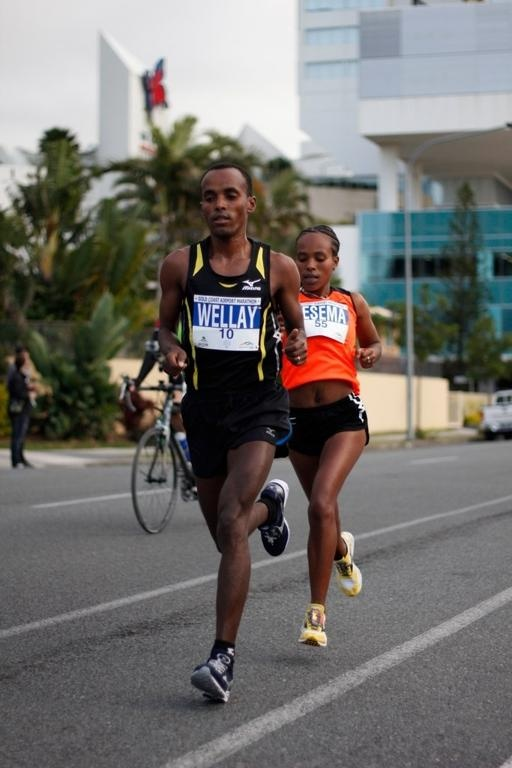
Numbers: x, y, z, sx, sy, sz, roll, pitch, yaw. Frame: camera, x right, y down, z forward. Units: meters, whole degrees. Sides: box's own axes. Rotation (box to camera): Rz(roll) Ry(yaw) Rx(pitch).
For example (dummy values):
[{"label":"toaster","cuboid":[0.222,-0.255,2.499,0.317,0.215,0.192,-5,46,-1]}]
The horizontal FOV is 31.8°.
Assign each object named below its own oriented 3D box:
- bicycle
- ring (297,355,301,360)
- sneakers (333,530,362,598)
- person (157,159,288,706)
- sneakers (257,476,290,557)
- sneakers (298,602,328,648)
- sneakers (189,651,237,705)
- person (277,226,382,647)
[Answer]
[{"label":"bicycle","cuboid":[-0.544,0.477,6.736,0.546,1.052,1.625,-7,-2,16]},{"label":"ring","cuboid":[0.142,-0.091,3.001,0.010,0.014,0.005,-7,13,-19]},{"label":"sneakers","cuboid":[0.375,0.839,4.084,0.110,0.347,0.144,-10,0,20]},{"label":"person","cuboid":[-0.154,0.103,2.914,0.427,1.672,0.560,2,-2,18]},{"label":"sneakers","cuboid":[0.081,0.610,3.993,0.122,0.387,0.164,3,41,5]},{"label":"sneakers","cuboid":[0.203,0.877,3.292,0.090,0.135,0.119,3,-2,2]},{"label":"sneakers","cuboid":[-0.133,0.862,2.683,0.112,0.148,0.222,3,-2,1]},{"label":"person","cuboid":[0.285,0.133,3.756,0.426,1.710,0.989,3,-2,7]}]
